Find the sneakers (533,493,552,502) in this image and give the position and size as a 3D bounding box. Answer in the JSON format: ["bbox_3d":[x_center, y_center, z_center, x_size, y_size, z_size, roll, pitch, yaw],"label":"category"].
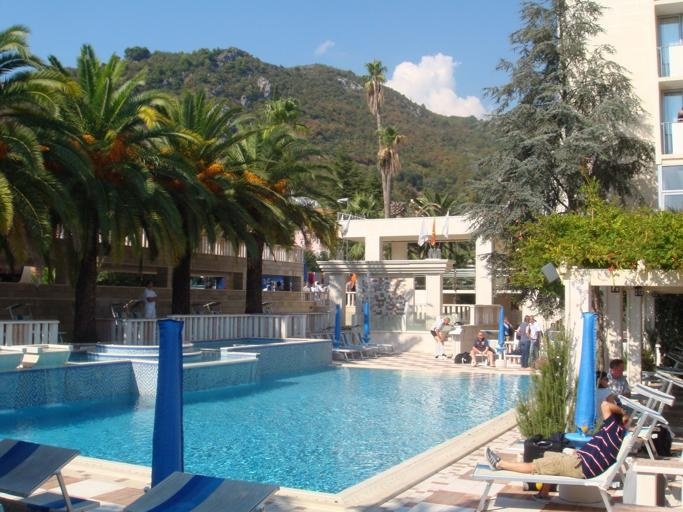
[{"bbox_3d":[2.745,3.291,8.994,0.229,0.112,0.095,1,0,38],"label":"sneakers"}]

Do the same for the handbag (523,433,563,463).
[{"bbox_3d":[2.948,2.767,9.645,0.524,0.616,0.392,-1,-11,0],"label":"handbag"}]

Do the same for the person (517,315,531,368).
[{"bbox_3d":[6.382,2.999,22.973,0.434,1.730,1.333,0,-1,14],"label":"person"}]

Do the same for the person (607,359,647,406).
[{"bbox_3d":[4.820,2.183,11.492,0.471,0.816,0.401,-7,6,-28],"label":"person"}]

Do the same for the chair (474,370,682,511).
[{"bbox_3d":[2.916,2.447,8.707,2.113,1.608,1.482,-1,-3,17],"label":"chair"}]

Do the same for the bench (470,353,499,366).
[{"bbox_3d":[5.159,3.691,23.780,0.912,0.401,1.197,0,-2,11],"label":"bench"}]

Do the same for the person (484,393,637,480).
[{"bbox_3d":[3.006,2.475,9.143,1.824,1.269,0.896,-8,-19,38],"label":"person"}]

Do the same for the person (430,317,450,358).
[{"bbox_3d":[4.016,3.265,26.775,0.690,1.444,2.522,0,-2,10],"label":"person"}]

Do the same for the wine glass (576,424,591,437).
[{"bbox_3d":[3.599,2.588,9.792,0.109,0.212,0.123,-2,-12,2],"label":"wine glass"}]

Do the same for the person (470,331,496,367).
[{"bbox_3d":[5.121,3.346,23.838,0.814,1.327,0.877,-6,-8,40],"label":"person"}]
